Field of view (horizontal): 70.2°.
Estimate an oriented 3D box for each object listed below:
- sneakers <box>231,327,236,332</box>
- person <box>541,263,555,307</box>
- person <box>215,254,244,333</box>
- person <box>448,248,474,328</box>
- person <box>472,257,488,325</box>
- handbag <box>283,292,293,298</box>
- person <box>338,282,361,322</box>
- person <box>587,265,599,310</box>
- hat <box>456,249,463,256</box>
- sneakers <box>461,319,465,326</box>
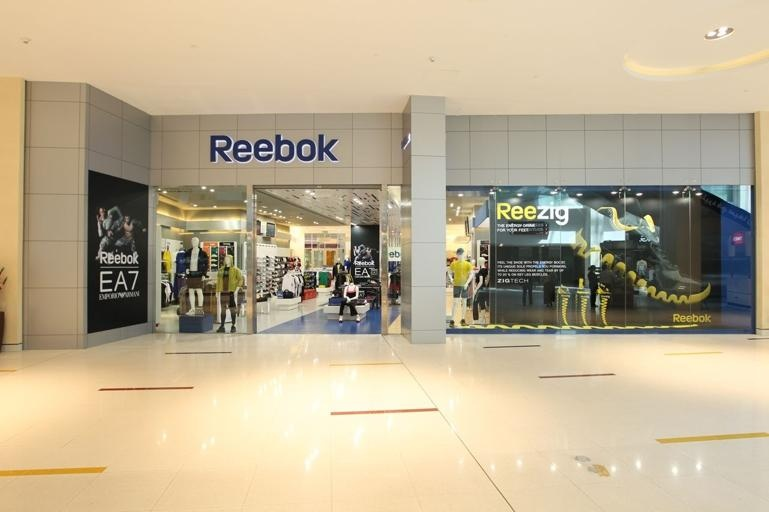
[{"bbox_3d":[-3.268,1.577,11.764,0.109,0.118,0.107,1,-7,-8],"label":"sneakers"},{"bbox_3d":[3.583,0.696,11.786,0.259,0.751,0.233,4,15,12],"label":"person"},{"bbox_3d":[-3.393,0.803,11.785,0.565,1.597,0.550,13,19,40],"label":"person"},{"bbox_3d":[1.655,0.665,11.887,0.509,1.600,0.585,2,15,7],"label":"person"},{"bbox_3d":[2.096,0.681,11.791,0.330,1.345,0.431,3,15,9],"label":"person"},{"bbox_3d":[-2.930,1.138,16.518,0.194,0.183,0.191,1,1,-9],"label":"handbag"},{"bbox_3d":[-0.869,1.113,13.607,0.507,0.858,1.064,-1,15,-4],"label":"person"},{"bbox_3d":[4.535,0.642,11.814,0.242,0.895,0.262,3,15,9],"label":"person"},{"bbox_3d":[1.666,-0.109,11.965,0.109,0.108,0.144,-2,8,-38],"label":"hat"},{"bbox_3d":[1.716,1.415,11.788,0.101,0.127,0.037,3,15,9],"label":"sneakers"}]
